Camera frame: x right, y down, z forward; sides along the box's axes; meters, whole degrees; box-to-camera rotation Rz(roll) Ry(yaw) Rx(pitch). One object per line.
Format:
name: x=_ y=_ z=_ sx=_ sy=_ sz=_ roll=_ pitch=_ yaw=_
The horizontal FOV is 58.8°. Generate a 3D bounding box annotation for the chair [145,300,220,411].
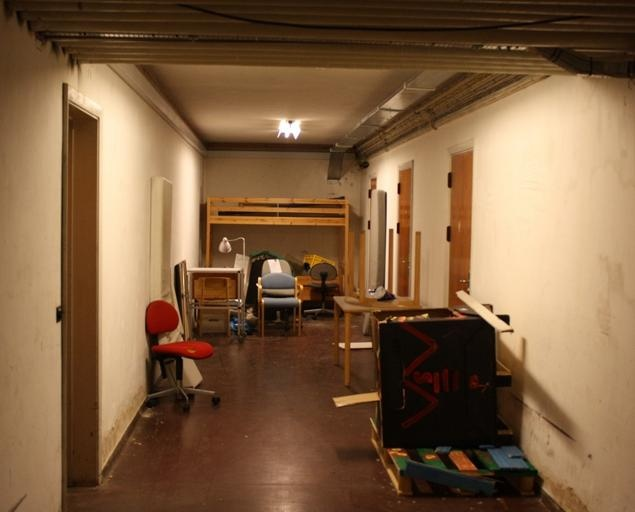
chair: x=-1.373 y=0.996 z=5.827 sx=0.740 sy=1.047 sz=0.670 roll=0 pitch=0 yaw=22

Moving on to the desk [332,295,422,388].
desk: x=0.666 y=0.716 z=6.599 sx=0.790 sy=0.747 sz=1.447 roll=0 pitch=3 yaw=-7

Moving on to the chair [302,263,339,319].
chair: x=0.098 y=0.642 z=10.341 sx=0.610 sy=1.003 sz=0.680 roll=0 pitch=-4 yaw=-4

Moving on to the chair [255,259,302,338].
chair: x=-0.623 y=0.647 z=9.138 sx=0.727 sy=1.245 sz=0.885 roll=1 pitch=-6 yaw=-21

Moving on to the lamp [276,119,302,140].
lamp: x=-0.439 y=-1.946 z=8.653 sx=0.275 sy=0.272 sz=0.069 roll=1 pitch=15 yaw=-20
